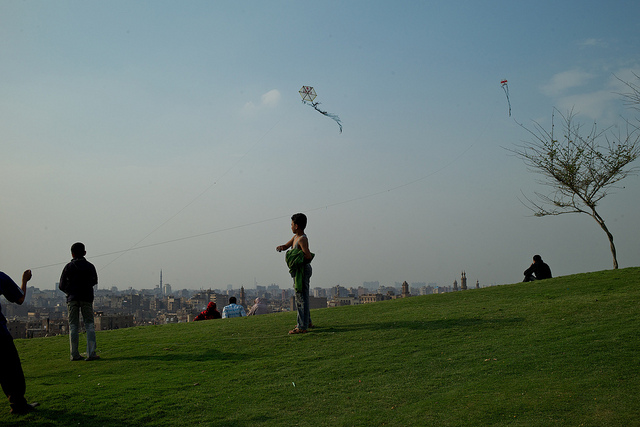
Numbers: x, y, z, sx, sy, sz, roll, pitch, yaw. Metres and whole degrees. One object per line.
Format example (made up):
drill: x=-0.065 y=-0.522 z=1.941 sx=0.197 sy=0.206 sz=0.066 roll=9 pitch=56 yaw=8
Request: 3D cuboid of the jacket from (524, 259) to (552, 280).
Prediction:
jacket: x=6.729 y=1.730 z=22.398 sx=0.666 sy=0.600 sz=0.723 roll=-2 pitch=2 yaw=3

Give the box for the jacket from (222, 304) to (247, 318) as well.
jacket: x=-2.799 y=3.115 z=23.179 sx=0.768 sy=0.592 sz=0.411 roll=4 pitch=-17 yaw=-21

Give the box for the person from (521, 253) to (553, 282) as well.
person: x=6.612 y=1.673 z=22.228 sx=0.769 sy=0.794 sz=1.338 roll=-2 pitch=2 yaw=14

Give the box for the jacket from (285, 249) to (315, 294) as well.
jacket: x=-0.572 y=1.307 z=16.318 sx=0.394 sy=0.743 sz=0.311 roll=-2 pitch=1 yaw=-4
